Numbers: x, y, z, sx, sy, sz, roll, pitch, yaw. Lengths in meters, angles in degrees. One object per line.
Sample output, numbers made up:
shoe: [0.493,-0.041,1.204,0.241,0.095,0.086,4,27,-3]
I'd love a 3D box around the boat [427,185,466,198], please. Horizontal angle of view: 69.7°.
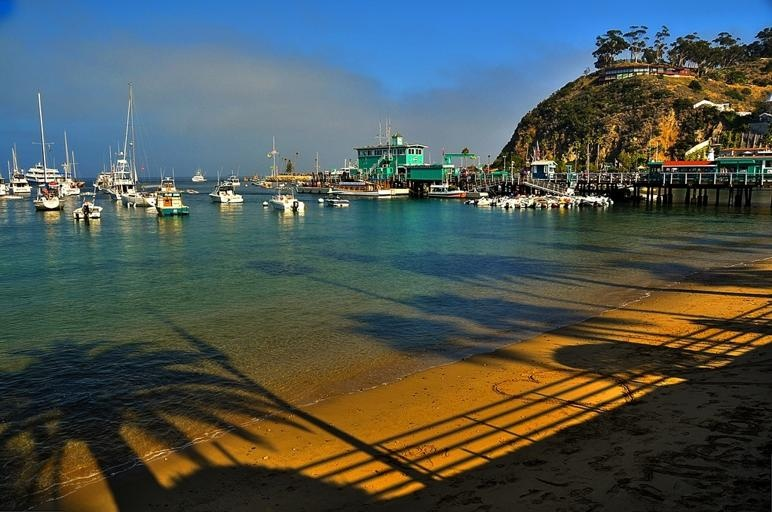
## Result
boat: [13.025,-13.574,116.437,6.568,1.843,3.547,3,6,25]
